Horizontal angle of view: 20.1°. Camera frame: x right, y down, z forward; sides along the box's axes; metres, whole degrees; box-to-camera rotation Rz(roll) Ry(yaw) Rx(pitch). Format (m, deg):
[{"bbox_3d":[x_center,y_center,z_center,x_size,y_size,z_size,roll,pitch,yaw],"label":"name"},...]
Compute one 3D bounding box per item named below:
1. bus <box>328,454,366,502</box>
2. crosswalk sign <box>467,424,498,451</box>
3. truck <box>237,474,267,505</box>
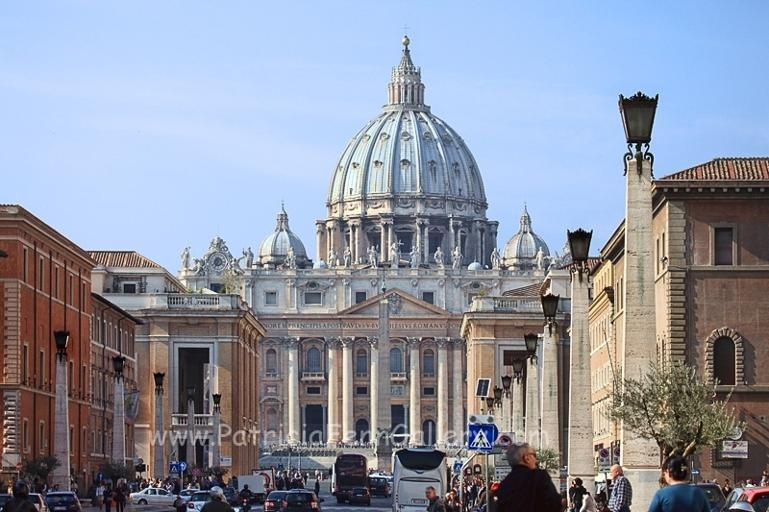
[{"bbox_3d":[-2.483,15.541,152.478,2.095,3.916,5.046,1,-13,-6],"label":"bus"},{"bbox_3d":[4.224,7.819,94.495,1.097,1.005,0.359,2,-10,-4],"label":"crosswalk sign"},{"bbox_3d":[-8.248,14.321,132.937,2.642,1.873,1.449,0,-2,2],"label":"truck"}]
